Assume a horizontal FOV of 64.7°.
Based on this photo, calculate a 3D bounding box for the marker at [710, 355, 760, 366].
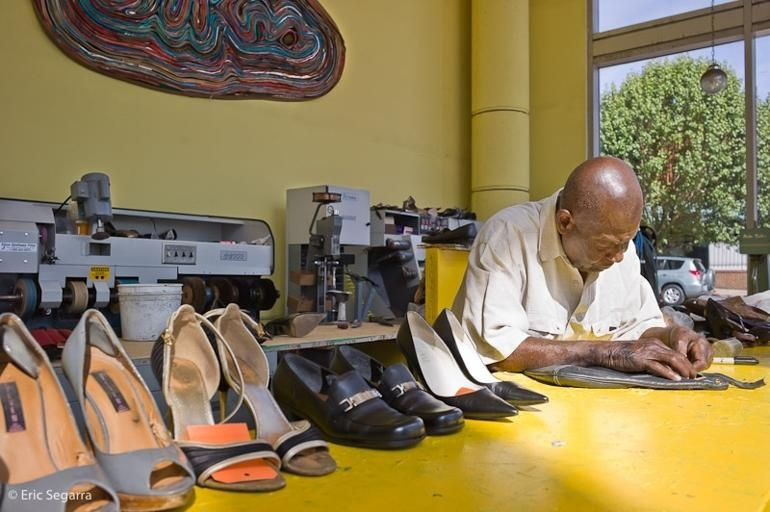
[{"bbox_3d":[1.273,0.388,2.219,0.175,0.025,0.073,-4,-1,-4],"label":"marker"}]

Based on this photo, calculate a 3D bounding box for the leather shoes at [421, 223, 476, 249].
[{"bbox_3d":[0.354,-0.113,3.298,0.129,0.126,0.349,10,-2,-32],"label":"leather shoes"}]

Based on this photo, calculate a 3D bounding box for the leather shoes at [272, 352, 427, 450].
[{"bbox_3d":[-0.111,0.393,1.656,0.148,0.248,0.441,-4,-1,-45],"label":"leather shoes"}]

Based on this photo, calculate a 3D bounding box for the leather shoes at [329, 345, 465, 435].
[{"bbox_3d":[0.013,0.396,1.802,0.480,0.161,0.166,27,20,31],"label":"leather shoes"}]

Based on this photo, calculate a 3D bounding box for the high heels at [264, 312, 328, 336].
[{"bbox_3d":[-0.509,0.386,3.379,0.379,0.128,0.135,-7,6,-16],"label":"high heels"}]
